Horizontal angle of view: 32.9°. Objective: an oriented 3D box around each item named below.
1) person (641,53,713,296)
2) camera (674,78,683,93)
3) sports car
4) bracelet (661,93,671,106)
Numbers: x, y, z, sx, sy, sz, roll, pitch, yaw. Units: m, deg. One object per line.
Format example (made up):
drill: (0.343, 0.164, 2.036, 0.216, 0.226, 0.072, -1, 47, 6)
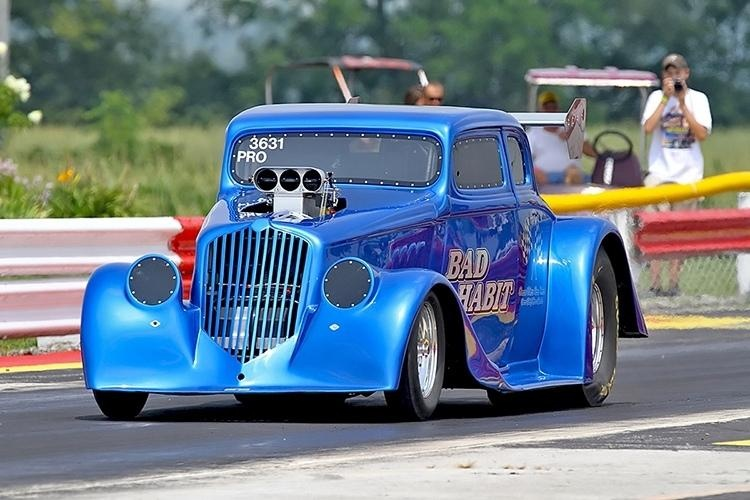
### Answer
person: (3.838, -0.970, 16.094, 0.844, 2.902, 1.145, -1, 10, 13)
camera: (3.790, -2.003, 15.784, 0.103, 0.155, 0.049, -3, 10, 3)
sports car: (-0.003, 0.160, 9.422, 4.163, 2.395, 2.031, -10, 12, -38)
bracelet: (3.654, -1.862, 15.922, 0.114, 0.045, 0.148, 7, 41, 8)
